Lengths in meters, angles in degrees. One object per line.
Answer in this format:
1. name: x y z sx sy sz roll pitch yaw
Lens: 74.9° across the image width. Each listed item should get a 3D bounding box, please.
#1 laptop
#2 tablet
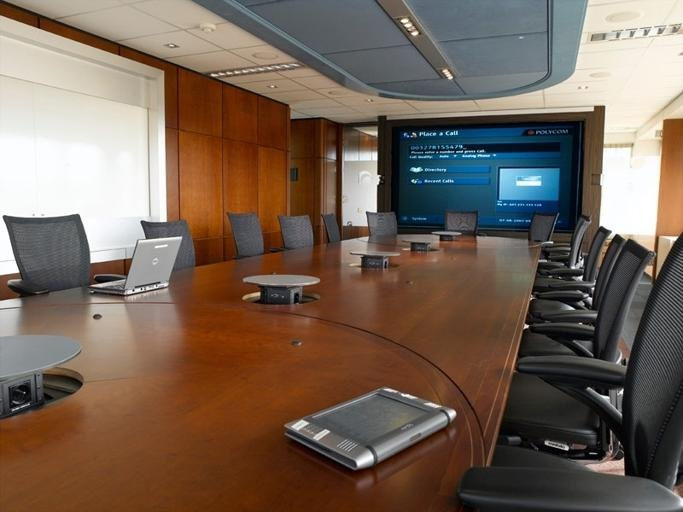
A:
1. laptop: -1.215 0.020 2.630 0.438 0.334 0.398 4 7 22
2. tablet: 0.076 0.403 1.074 0.357 0.052 0.214 -6 10 -42
